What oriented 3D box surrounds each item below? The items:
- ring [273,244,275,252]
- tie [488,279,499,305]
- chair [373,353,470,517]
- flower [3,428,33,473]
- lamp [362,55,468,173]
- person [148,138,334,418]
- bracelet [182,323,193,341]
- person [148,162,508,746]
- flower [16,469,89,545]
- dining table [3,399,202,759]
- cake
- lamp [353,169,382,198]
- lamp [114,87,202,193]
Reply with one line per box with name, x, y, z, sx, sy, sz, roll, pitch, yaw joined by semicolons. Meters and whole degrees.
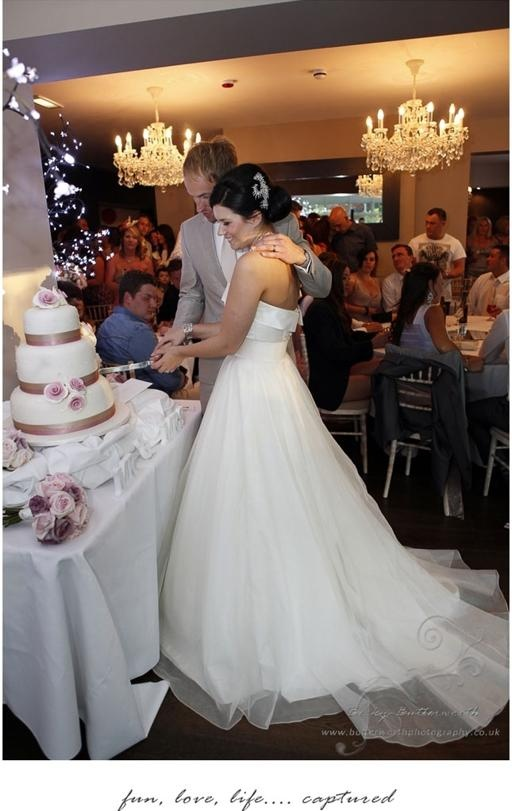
ring;0.050;-0.446;1.557;0.010;0.018;0.013;-2;17;2
tie;2.138;-1.021;4.948;0.067;0.190;0.133;24;-18;-35
chair;0.907;0.093;3.000;0.545;0.812;0.491;2;6;34
flower;-0.572;0.104;1.317;0.075;0.038;0.084;25;41;-29
lamp;1.545;-2.792;5.232;0.777;0.992;0.777;-9;14;-38
person;-0.096;-0.326;2.188;0.477;1.247;0.487;-1;48;-7
bracelet;-0.226;-0.247;1.821;0.033;0.053;0.047;0;-25;4
person;0.224;0.199;1.585;1.126;1.338;0.771;-5;17;-7
flower;-0.418;0.214;1.156;0.125;0.097;0.129;2;21;26
dining table;-0.377;0.542;1.447;0.282;0.693;0.658;4;18;20
cake;-0.530;-0.125;1.466;0.266;0.365;0.274;-6;11;16
lamp;1.585;-3.086;7.577;0.306;0.416;0.314;-1;15;-7
lamp;-1.041;-2.794;5.700;0.756;0.971;0.779;-2;24;-6
